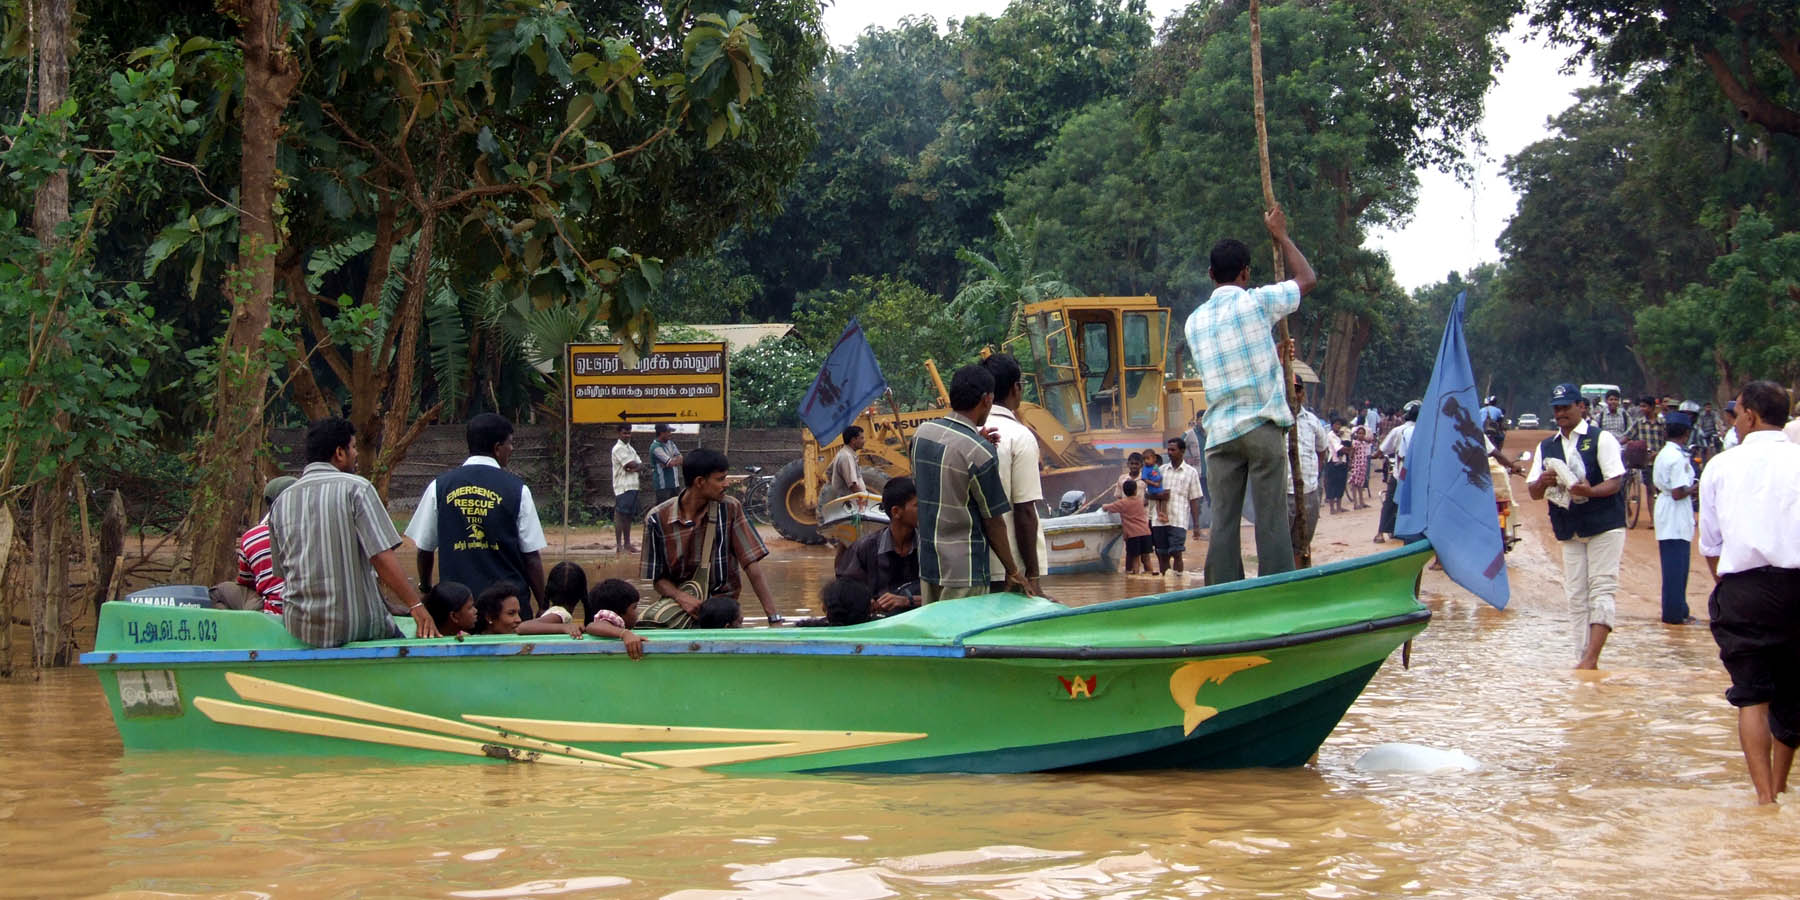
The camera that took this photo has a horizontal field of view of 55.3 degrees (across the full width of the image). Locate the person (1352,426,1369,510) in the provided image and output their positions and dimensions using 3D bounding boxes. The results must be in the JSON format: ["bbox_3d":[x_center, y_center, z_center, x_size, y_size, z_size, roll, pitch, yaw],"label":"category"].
[{"bbox_3d":[9.813,0.364,36.731,0.379,1.642,0.970,3,8,14],"label":"person"}]

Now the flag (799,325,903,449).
[{"bbox_3d":[-0.861,-1.099,27.665,0.971,2.120,1.487,-4,9,-33],"label":"flag"}]

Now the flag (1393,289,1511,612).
[{"bbox_3d":[6.226,0.077,19.166,1.228,3.669,1.725,4,9,18],"label":"flag"}]

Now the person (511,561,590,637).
[{"bbox_3d":[-3.770,1.690,19.033,0.590,0.818,0.343,14,-5,19],"label":"person"}]

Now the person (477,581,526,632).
[{"bbox_3d":[-4.363,1.761,18.805,0.587,0.678,0.453,-3,2,-7],"label":"person"}]

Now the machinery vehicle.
[{"bbox_3d":[2.204,-0.579,31.563,9.258,3.619,2.467,-5,6,-16],"label":"machinery vehicle"}]

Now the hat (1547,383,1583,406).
[{"bbox_3d":[8.348,-0.682,21.718,0.305,0.213,0.425,-8,20,-17],"label":"hat"}]

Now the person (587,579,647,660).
[{"bbox_3d":[-3.053,1.866,18.558,0.382,0.922,0.763,-13,12,-37],"label":"person"}]

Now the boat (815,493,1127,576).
[{"bbox_3d":[1.242,1.383,27.547,5.153,1.344,1.722,2,-3,-3],"label":"boat"}]
